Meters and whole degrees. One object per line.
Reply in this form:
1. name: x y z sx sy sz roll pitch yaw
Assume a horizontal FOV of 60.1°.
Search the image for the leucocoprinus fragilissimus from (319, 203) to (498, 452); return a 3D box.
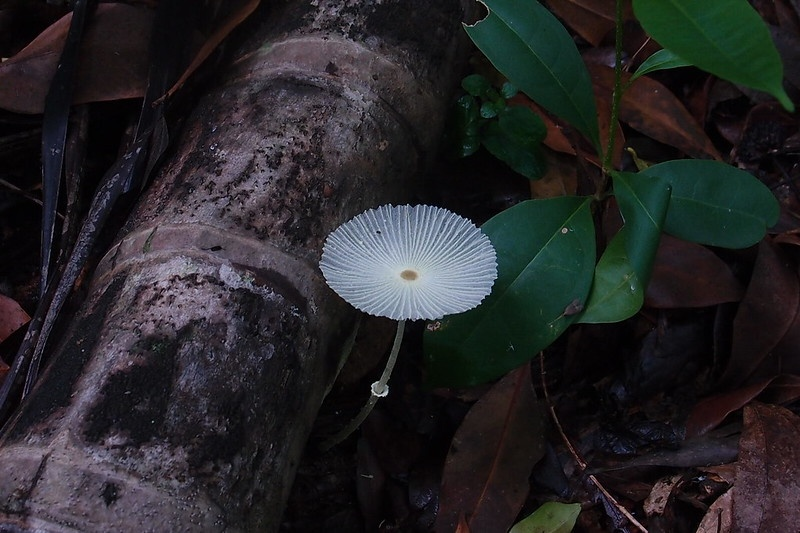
1. leucocoprinus fragilissimus: -0.017 0.144 2.572 0.537 0.658 0.737 17 -26 -5
